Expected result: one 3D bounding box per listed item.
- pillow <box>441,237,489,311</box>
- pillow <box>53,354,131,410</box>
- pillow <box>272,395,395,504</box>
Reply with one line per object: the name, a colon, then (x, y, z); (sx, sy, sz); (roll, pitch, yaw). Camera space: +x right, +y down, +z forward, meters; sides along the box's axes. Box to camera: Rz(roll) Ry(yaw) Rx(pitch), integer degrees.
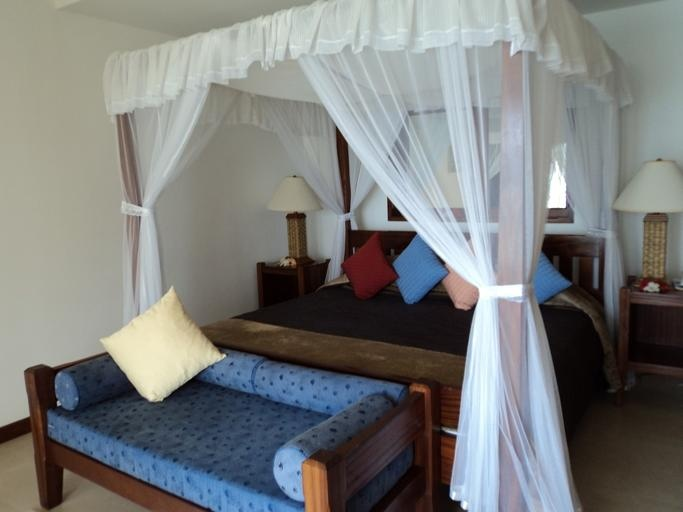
pillow: (0.965, 0.164, 3.922); (0.102, 0.378, 0.381); (-18, -28, -15)
pillow: (-1.410, 0.610, 2.871); (0.214, 0.236, 0.333); (7, 12, 34)
pillow: (-0.026, 0.828, 2.275); (0.607, 0.247, 0.197); (-11, 10, -43)
